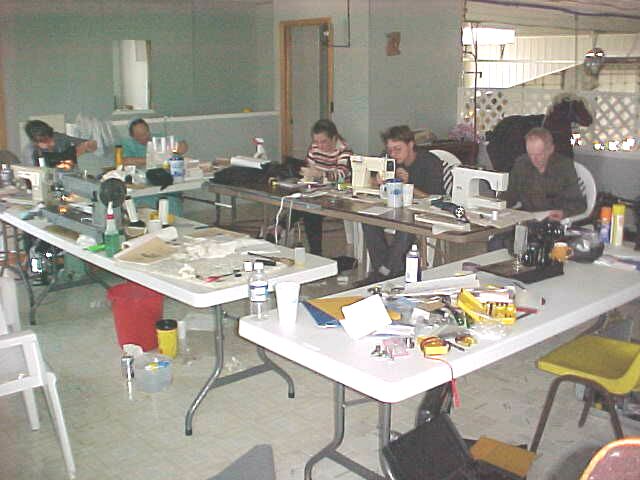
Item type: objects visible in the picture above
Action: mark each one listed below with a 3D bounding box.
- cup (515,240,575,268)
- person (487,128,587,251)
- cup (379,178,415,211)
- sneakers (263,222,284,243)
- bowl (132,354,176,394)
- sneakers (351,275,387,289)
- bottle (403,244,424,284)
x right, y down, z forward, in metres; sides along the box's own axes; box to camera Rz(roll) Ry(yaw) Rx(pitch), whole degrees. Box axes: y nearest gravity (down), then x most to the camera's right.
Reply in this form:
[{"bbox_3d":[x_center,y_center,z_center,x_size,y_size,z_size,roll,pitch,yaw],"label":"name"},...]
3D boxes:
[{"bbox_3d":[1.257,0.079,3.218,0.260,0.074,0.133,0,17,17],"label":"cup"},{"bbox_3d":[1.839,-0.422,5.105,0.862,0.940,0.774,-1,19,16],"label":"person"},{"bbox_3d":[0.589,-0.351,4.484,0.178,0.172,0.273,-16,21,-41],"label":"cup"},{"bbox_3d":[-0.448,-0.062,5.562,0.227,0.177,0.153,9,5,-7],"label":"sneakers"},{"bbox_3d":[-1.097,0.869,3.830,0.231,0.120,0.212,3,17,-1],"label":"bowl"},{"bbox_3d":[0.419,0.369,5.119,0.236,0.049,0.141,4,25,25],"label":"sneakers"},{"bbox_3d":[0.504,0.123,3.165,0.091,0.190,0.189,-1,14,9],"label":"bottle"}]
